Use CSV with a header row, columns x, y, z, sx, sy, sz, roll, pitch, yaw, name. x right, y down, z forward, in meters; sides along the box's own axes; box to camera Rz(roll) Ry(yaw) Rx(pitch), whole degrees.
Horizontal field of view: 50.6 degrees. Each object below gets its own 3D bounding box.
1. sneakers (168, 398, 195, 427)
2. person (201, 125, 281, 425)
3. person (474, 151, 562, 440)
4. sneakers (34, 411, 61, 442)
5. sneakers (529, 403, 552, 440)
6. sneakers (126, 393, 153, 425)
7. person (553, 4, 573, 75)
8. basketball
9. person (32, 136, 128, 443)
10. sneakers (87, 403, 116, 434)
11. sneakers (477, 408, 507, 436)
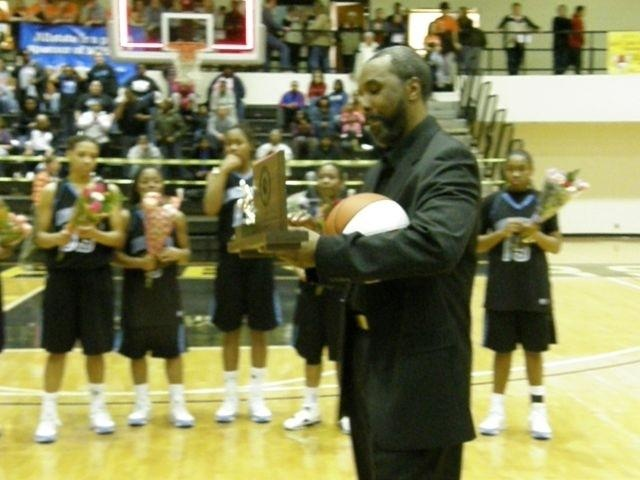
x,y,z,sx,sy,sz,roll,pitch,yaw,name
-1.169,1.461,5.662,0.142,0.245,0.271,5,-10,-39,sneakers
-0.668,0.295,5.753,0.607,2.486,0.483,-1,8,-6,person
1.637,0.412,5.558,0.657,2.279,0.659,2,9,13,person
-2.173,1.481,5.369,0.182,0.204,0.183,-4,9,-24,sneakers
1.797,1.457,5.519,0.160,0.237,0.420,2,1,10,sneakers
-1.510,1.455,5.740,0.148,0.252,0.279,-1,-13,5,sneakers
6.575,-5.466,18.372,0.451,1.964,1.478,3,9,18,person
0.212,-0.093,3.168,0.296,0.165,0.236,-11,-9,36,basketball
-1.964,0.371,5.468,0.774,2.381,0.530,-3,9,-17,person
-1.813,1.451,5.561,0.147,0.256,0.288,4,-4,-38,sneakers
1.416,1.481,5.520,0.243,0.168,0.162,-1,8,-5,sneakers
